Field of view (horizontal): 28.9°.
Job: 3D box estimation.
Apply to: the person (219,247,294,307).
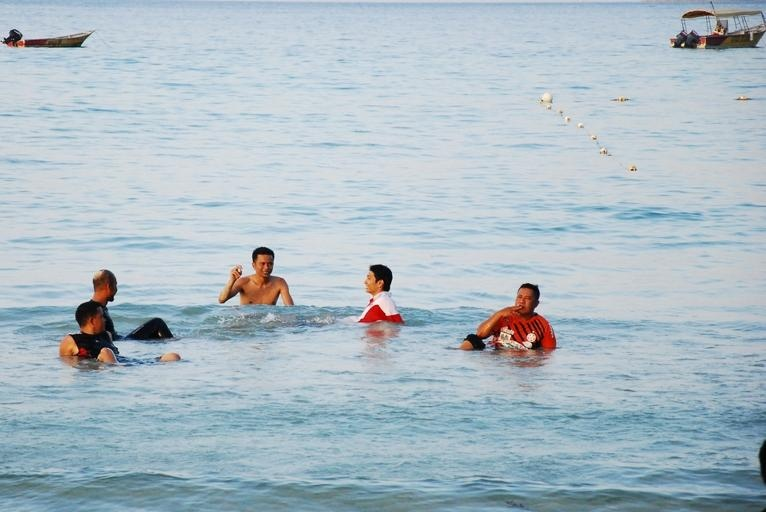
[{"bbox_3d":[-3.353,0.560,40.486,1.886,1.545,0.510,0,14,-3],"label":"person"}]
